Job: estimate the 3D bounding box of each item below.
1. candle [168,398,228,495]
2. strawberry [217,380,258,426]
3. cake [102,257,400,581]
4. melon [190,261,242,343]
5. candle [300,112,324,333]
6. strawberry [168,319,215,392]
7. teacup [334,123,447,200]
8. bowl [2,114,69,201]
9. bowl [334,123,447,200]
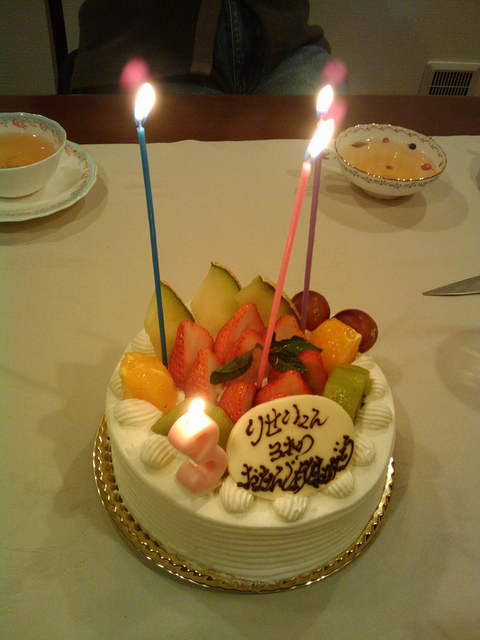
[{"bbox_3d":[-0.048,0.157,0.656,0.046,0.158,0.090,23,36,21],"label":"candle"},{"bbox_3d":[-0.003,0.114,0.775,0.050,0.066,0.087,18,-1,14],"label":"strawberry"},{"bbox_3d":[-0.003,0.195,0.951,0.484,0.290,0.463,-6,42,-9],"label":"cake"},{"bbox_3d":[-0.037,-0.033,0.937,0.082,0.123,0.074,-13,44,-16],"label":"melon"},{"bbox_3d":[0.117,-0.160,0.812,0.013,0.378,0.014,3,7,0],"label":"candle"},{"bbox_3d":[-0.081,0.055,0.870,0.084,0.102,0.038,-3,11,5],"label":"strawberry"},{"bbox_3d":[0.373,-0.455,1.560,0.398,0.206,0.273,-3,40,-3],"label":"teacup"},{"bbox_3d":[-0.519,-0.406,1.357,0.178,0.107,0.173,3,52,-4],"label":"bowl"},{"bbox_3d":[0.415,-0.439,1.477,0.256,0.097,0.246,1,46,-2],"label":"bowl"}]
